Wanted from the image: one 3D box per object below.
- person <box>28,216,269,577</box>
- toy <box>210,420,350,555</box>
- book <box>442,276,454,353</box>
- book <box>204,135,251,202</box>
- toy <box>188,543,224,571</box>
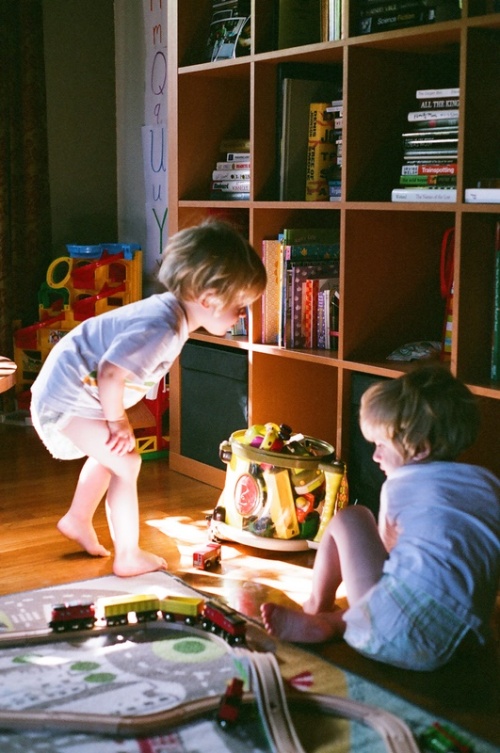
[{"bbox_3d":[-0.232,0.032,1.316,0.459,0.706,0.243,3,3,17],"label":"person"},{"bbox_3d":[0.053,0.225,1.557,0.324,0.265,0.255,14,7,15],"label":"toy"},{"bbox_3d":[0.439,-0.134,1.435,0.015,0.164,0.181,3,4,16],"label":"book"},{"bbox_3d":[-0.057,-0.603,1.911,0.166,0.216,0.065,0,-8,11],"label":"book"},{"bbox_3d":[-0.092,0.368,1.350,0.036,0.038,0.060,11,21,30],"label":"toy"}]
